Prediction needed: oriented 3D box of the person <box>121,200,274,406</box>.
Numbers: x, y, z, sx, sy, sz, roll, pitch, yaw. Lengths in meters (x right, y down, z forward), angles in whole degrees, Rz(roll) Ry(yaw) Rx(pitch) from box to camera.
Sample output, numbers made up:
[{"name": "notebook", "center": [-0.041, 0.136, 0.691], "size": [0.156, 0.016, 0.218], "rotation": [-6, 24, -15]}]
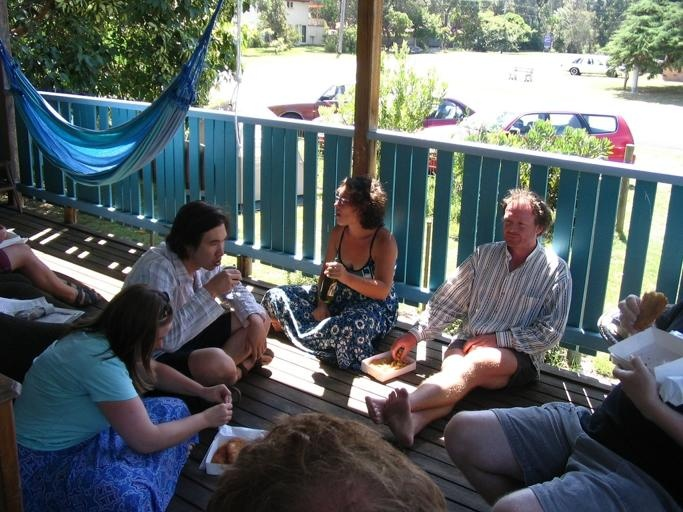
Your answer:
[{"name": "person", "center": [-0.737, 0.026, 2.941], "size": [0.844, 1.153, 0.830], "rotation": [11, 28, 11]}]

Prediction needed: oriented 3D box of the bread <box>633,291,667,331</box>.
[{"name": "bread", "center": [1.157, 0.211, 1.943], "size": [0.073, 0.171, 0.066], "rotation": [15, 26, -26]}]

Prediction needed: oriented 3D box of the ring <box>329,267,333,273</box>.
[{"name": "ring", "center": [-0.063, 0.078, 2.944], "size": [0.023, 0.027, 0.006], "rotation": [4, -11, 27]}]

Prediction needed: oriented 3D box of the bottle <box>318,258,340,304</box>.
[{"name": "bottle", "center": [-0.074, 0.156, 3.095], "size": [0.091, 0.275, 0.098], "rotation": [11, 42, -10]}]

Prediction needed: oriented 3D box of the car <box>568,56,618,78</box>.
[{"name": "car", "center": [10.508, -8.023, 21.859], "size": [1.999, 0.769, 1.030], "rotation": [9, 27, 26]}]

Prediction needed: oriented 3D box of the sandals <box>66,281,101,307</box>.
[{"name": "sandals", "center": [-1.689, 0.251, 3.406], "size": [0.110, 0.075, 0.259], "rotation": [-3, 19, -40]}]
